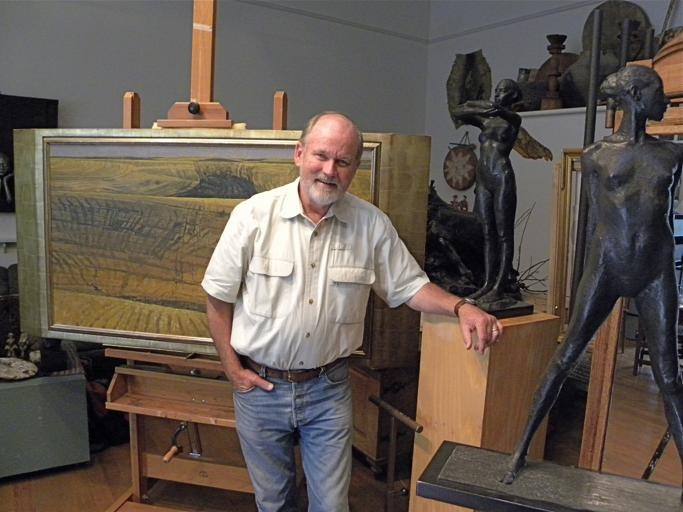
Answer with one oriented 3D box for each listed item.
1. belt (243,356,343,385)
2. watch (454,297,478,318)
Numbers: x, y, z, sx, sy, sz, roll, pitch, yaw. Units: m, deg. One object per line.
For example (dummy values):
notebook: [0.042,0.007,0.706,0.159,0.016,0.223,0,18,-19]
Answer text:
belt: [-0.213,0.493,2.942,0.456,0.086,0.114,-1,12,-2]
watch: [0.535,0.214,2.922,0.092,0.088,0.024,10,18,-44]
